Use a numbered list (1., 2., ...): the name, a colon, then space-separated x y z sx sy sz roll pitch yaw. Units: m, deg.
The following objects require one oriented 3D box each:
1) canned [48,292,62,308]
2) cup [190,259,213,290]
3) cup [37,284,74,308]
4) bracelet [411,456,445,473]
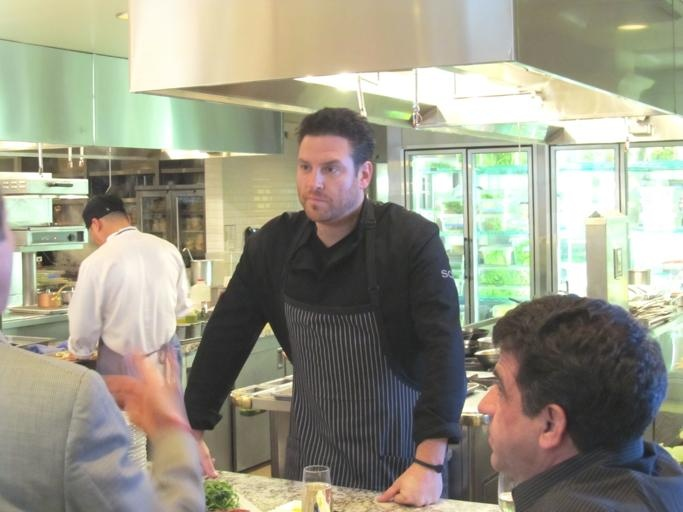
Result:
1. canned: -2.309 0.369 5.240 0.096 0.110 0.095 0 0 -37
2. cup: -1.265 0.176 5.948 0.230 0.252 0.233 0 0 0
3. cup: -2.419 0.345 5.486 0.312 0.221 0.174 1 0 29
4. bracelet: 0.240 0.556 1.727 0.057 0.015 0.051 17 -4 -3
